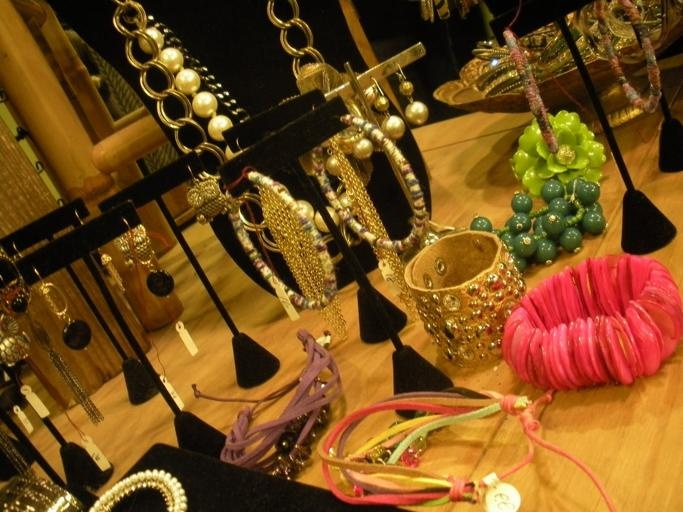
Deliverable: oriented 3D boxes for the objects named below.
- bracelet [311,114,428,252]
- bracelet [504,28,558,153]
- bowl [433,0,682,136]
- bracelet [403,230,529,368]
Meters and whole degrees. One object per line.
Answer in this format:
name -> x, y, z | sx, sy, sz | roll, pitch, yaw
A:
bracelet -> 0.064, -0.091, 0.771 | 0.023, 0.217, 0.157 | -33, 14, -24
bracelet -> 0.324, -0.253, 0.900 | 0.028, 0.279, 0.034 | 2, 63, 39
bowl -> 0.464, -0.391, 1.165 | 0.367, 0.084, 0.413 | -21, 15, 30
bracelet -> 0.193, 0.059, 0.905 | 0.186, 0.184, 0.192 | -39, 19, -32
